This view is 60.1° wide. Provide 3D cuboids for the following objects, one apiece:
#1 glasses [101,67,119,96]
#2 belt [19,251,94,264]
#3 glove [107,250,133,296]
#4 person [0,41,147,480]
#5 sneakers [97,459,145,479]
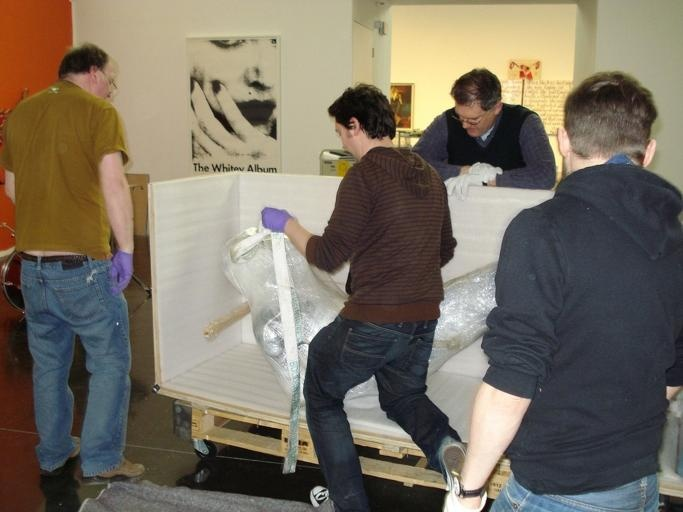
[{"bbox_3d":[-1.088,-0.838,2.807,0.095,0.112,0.080,-22,6,-38],"label":"glasses"},{"bbox_3d":[-1.289,0.015,2.615,0.335,0.052,0.060,6,11,9],"label":"belt"},{"bbox_3d":[-1.048,0.085,2.757,0.062,0.176,0.126,4,-11,38],"label":"glove"},{"bbox_3d":[-1.216,0.062,2.717,0.466,2.036,0.499,-5,13,-34],"label":"person"},{"bbox_3d":[-1.046,1.005,2.795,0.195,0.089,0.070,-5,9,-35],"label":"sneakers"}]
